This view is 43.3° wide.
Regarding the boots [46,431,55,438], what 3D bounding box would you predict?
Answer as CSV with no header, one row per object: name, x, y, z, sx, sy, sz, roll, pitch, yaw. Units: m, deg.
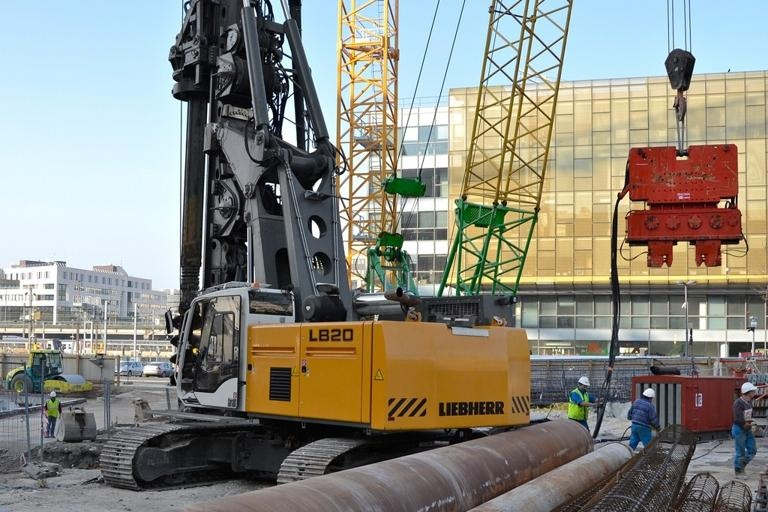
boots,-11.983,5.646,34.620,0.334,0.111,0.103,5,-11,7

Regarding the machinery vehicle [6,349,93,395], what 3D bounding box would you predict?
machinery vehicle,-18.318,5.418,52.828,4.651,2.539,3.074,-2,-3,-2

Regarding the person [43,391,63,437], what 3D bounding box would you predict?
person,-11.831,4.907,34.396,0.504,1.580,1.801,2,-6,-20

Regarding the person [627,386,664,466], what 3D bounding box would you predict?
person,7.846,4.335,29.141,0.886,1.791,1.377,-2,-6,14

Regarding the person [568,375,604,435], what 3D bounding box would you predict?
person,6.389,4.209,30.668,1.052,1.887,0.938,3,8,2
